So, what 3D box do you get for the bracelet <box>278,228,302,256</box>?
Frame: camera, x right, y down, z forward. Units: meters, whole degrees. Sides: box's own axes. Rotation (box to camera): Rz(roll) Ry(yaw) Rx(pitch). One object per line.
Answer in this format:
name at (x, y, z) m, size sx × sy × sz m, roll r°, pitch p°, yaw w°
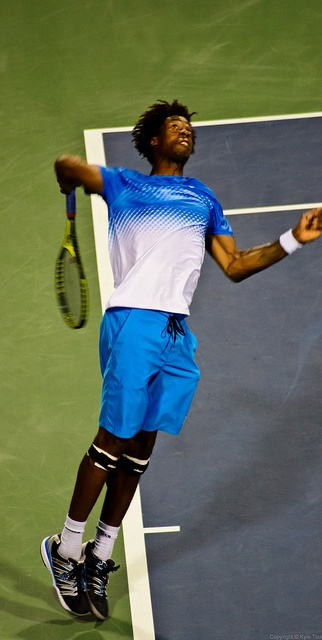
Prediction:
bracelet at (0.529, -0.307, 2.445) m, size 0.066 × 0.092 × 0.087 m, roll -16°, pitch 24°, yaw 28°
